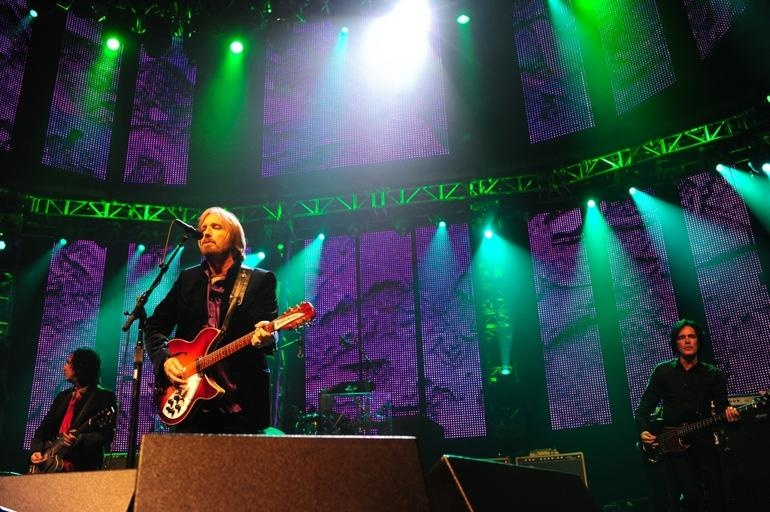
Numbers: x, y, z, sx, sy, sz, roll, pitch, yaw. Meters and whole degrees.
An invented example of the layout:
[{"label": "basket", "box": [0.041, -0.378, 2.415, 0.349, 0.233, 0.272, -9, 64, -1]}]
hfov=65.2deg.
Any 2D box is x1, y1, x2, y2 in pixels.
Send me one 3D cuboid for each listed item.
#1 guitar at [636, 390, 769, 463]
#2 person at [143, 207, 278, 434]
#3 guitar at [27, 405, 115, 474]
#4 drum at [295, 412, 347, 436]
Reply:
[{"label": "guitar", "box": [3.648, 1.977, 6.984, 0.447, 0.655, 1.486, 24, -34, -33]}, {"label": "person", "box": [-1.535, 0.747, 5.226, 1.048, 2.215, 0.733, 3, 10, -11]}, {"label": "guitar", "box": [-3.785, 2.209, 7.324, 0.907, 0.796, 0.236, -5, -28, 16]}, {"label": "drum", "box": [-0.934, 2.488, 8.982, 0.735, 0.264, 0.559, 1, -7, -2]}]
